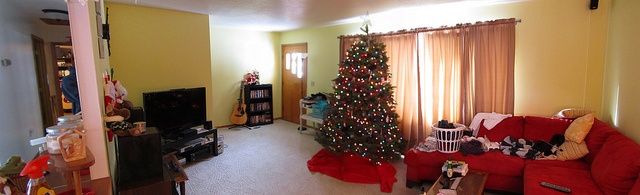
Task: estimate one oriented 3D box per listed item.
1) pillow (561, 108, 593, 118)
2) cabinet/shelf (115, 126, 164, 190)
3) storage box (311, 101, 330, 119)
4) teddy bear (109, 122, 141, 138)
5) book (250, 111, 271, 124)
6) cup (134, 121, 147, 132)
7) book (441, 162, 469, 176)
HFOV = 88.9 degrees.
[{"bbox_3d":[8.386,0.480,10.659,0.577,0.110,0.560,-9,9,-41],"label":"pillow"},{"bbox_3d":[-5.247,1.798,9.442,1.334,1.684,0.528,-6,15,-16],"label":"cabinet/shelf"},{"bbox_3d":[-0.212,0.433,12.958,0.847,0.616,0.324,21,1,44],"label":"storage box"},{"bbox_3d":[-5.637,0.896,9.403,0.918,0.458,0.187,-1,14,1],"label":"teddy bear"},{"bbox_3d":[-2.565,0.841,13.978,0.917,0.297,0.251,0,-2,-29],"label":"book"},{"bbox_3d":[-5.266,0.852,9.576,0.428,0.272,0.353,-2,5,-27],"label":"cup"},{"bbox_3d":[4.300,2.258,10.273,0.766,0.117,0.632,-1,0,24],"label":"book"}]
